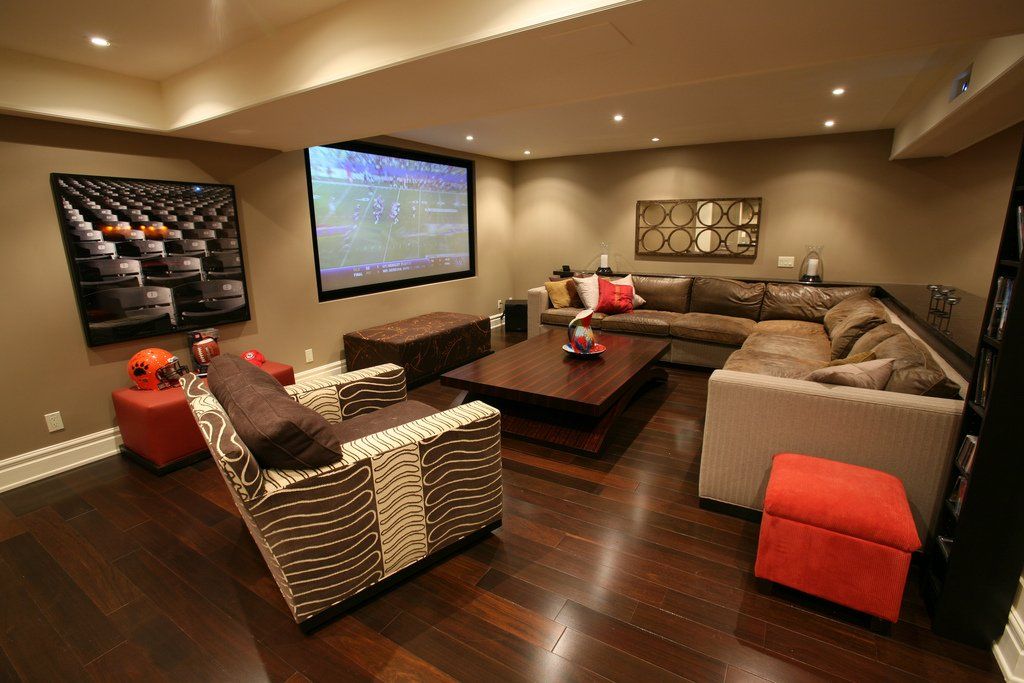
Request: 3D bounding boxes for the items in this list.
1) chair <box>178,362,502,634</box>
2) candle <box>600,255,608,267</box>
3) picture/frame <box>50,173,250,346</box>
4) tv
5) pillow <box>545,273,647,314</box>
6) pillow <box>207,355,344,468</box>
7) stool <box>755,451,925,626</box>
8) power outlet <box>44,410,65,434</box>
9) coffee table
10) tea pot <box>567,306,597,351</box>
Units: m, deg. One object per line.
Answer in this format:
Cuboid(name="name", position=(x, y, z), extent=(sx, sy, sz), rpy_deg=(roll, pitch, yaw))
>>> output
Cuboid(name="chair", position=(-1.097, 0.815, 4.376), extent=(1.558, 1.154, 1.529), rpy_deg=(-13, 19, -27))
Cuboid(name="candle", position=(1.204, -1.034, 8.088), extent=(0.142, 0.158, 0.142), rpy_deg=(2, 8, 11))
Cuboid(name="picture/frame", position=(-2.925, -0.663, 5.010), extent=(1.314, 1.246, 0.096), rpy_deg=(-15, 21, -42))
Cuboid(name="tv", position=(-2.924, -0.658, 5.011), extent=(1.328, 1.300, 0.096), rpy_deg=(-15, 20, -42))
Cuboid(name="pillow", position=(0.964, -0.553, 7.550), extent=(0.648, 0.243, 0.742), rpy_deg=(-3, 22, 1))
Cuboid(name="pillow", position=(-1.447, 0.430, 3.791), extent=(0.471, 0.517, 0.907), rpy_deg=(-11, 16, -40))
Cuboid(name="stool", position=(2.030, 1.178, 3.948), extent=(0.881, 0.742, 0.865), rpy_deg=(8, 13, 27))
Cuboid(name="power outlet", position=(-3.446, 0.611, 4.752), extent=(0.021, 0.223, 0.135), rpy_deg=(14, 22, 34))
Cuboid(name="coffee table", position=(0.392, 0.359, 5.238), extent=(0.992, 0.338, 1.505), rpy_deg=(5, 16, 27))
Cuboid(name="tea pot", position=(0.622, -0.076, 5.669), extent=(0.257, 0.415, 0.294), rpy_deg=(-11, 19, -34))
